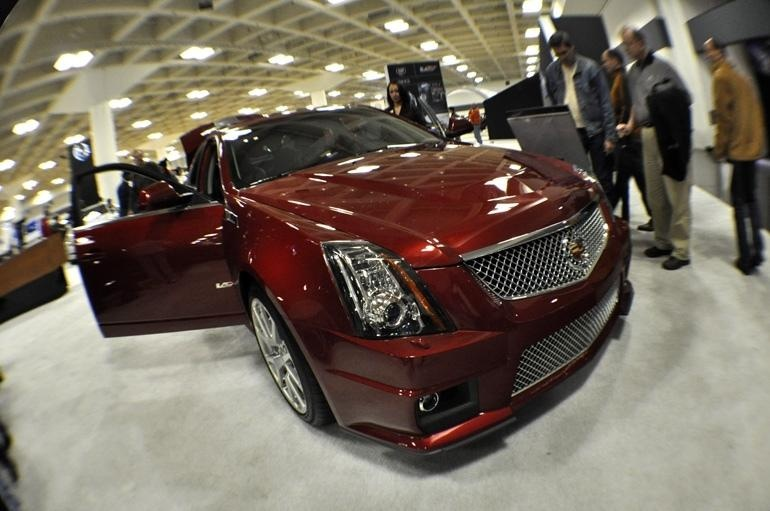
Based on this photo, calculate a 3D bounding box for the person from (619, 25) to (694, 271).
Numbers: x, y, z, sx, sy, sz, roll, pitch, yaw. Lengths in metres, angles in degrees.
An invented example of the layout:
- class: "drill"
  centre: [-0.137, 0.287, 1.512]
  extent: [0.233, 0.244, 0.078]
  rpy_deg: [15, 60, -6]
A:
- class: "person"
  centre: [2.086, -0.827, 2.949]
  extent: [0.319, 1.801, 0.538]
  rpy_deg: [-6, 16, 13]

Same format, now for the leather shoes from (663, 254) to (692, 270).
- class: "leather shoes"
  centre: [2.213, 0.051, 2.987]
  extent: [0.234, 0.091, 0.088]
  rpy_deg: [-2, 38, 16]

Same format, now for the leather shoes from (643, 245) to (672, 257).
- class: "leather shoes"
  centre: [2.271, -0.034, 3.228]
  extent: [0.199, 0.086, 0.076]
  rpy_deg: [-2, 7, 32]

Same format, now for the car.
- class: "car"
  centre: [-0.364, -0.081, 2.204]
  extent: [2.126, 0.805, 2.435]
  rpy_deg: [-30, 29, -36]
